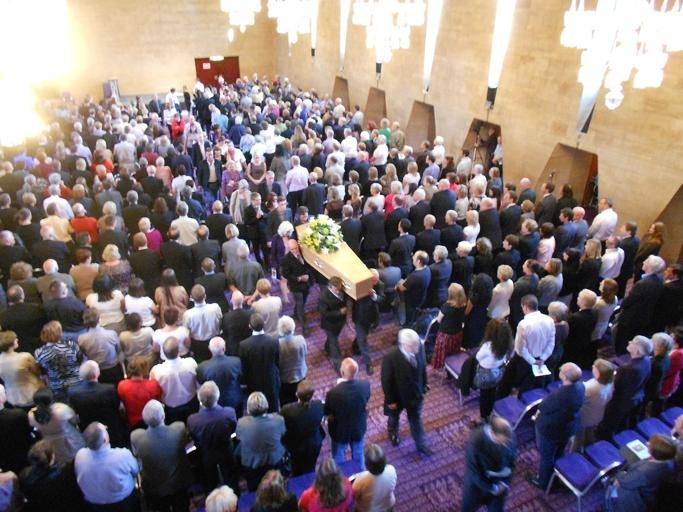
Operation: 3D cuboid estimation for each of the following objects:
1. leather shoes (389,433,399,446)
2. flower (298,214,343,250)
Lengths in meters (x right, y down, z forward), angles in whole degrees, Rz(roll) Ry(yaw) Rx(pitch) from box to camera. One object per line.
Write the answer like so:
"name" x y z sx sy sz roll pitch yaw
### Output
"leather shoes" 0.724 2.470 7.426 0.145 0.180 0.132 1 25 -4
"flower" -0.322 -0.365 8.799 0.535 0.446 0.557 21 26 27
